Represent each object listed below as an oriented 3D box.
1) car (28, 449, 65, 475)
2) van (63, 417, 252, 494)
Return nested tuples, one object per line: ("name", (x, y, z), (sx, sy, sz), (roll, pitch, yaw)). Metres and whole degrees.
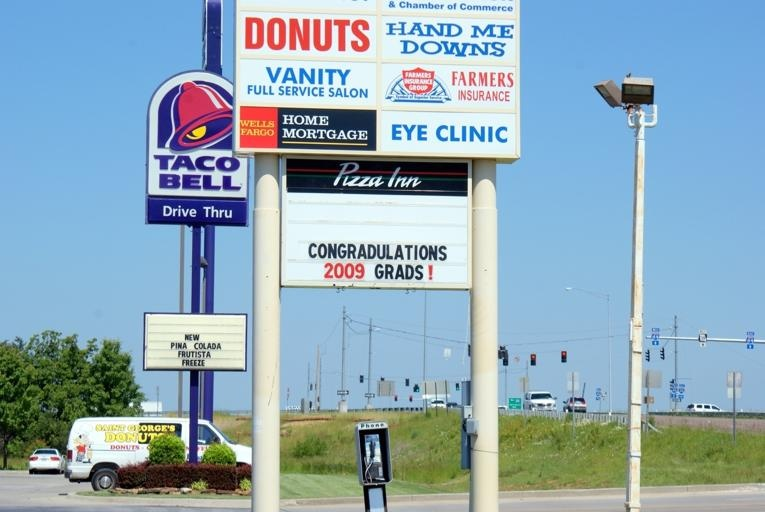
("car", (-22.047, 13.504, 118.525), (1.999, 1.573, 1.558), (0, -6, -6))
("van", (-13.004, 10.697, 97.811), (8.194, 3.849, 2.189), (1, -6, -11))
